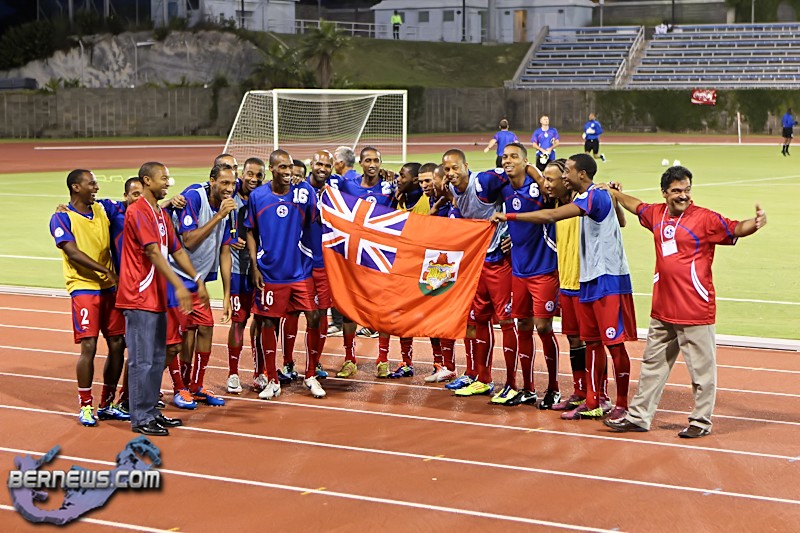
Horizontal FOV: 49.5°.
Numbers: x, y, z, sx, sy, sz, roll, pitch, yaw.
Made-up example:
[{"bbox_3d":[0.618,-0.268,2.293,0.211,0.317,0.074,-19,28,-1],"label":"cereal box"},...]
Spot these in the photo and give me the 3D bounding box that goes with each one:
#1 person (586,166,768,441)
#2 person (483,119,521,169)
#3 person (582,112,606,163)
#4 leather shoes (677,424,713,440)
[{"bbox_3d":[2.738,0.346,8.486,1.195,2.606,0.691,4,13,21],"label":"person"},{"bbox_3d":[3.498,-3.792,28.958,1.228,2.274,0.567,-2,20,4],"label":"person"},{"bbox_3d":[7.848,-5.082,35.191,0.809,2.231,0.754,-7,-12,38],"label":"person"},{"bbox_3d":[2.869,1.605,8.460,0.290,0.112,0.136,-3,6,8],"label":"leather shoes"}]
